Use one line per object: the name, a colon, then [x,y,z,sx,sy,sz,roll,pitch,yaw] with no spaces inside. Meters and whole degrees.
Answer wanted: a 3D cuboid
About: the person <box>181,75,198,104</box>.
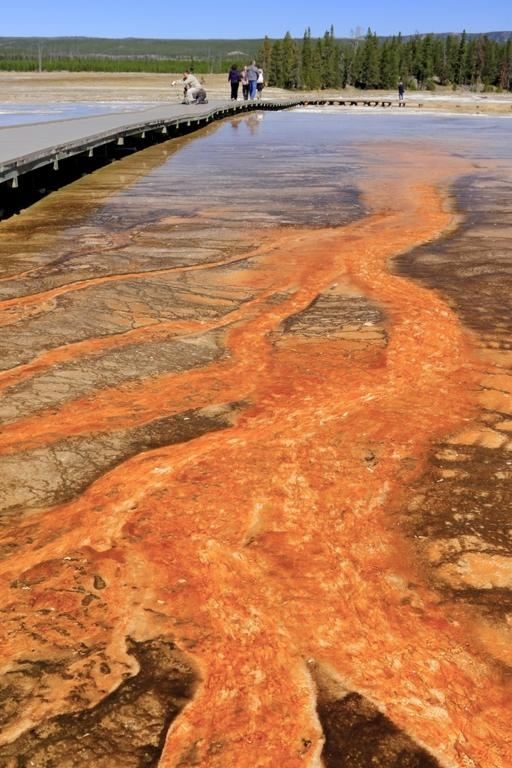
person: [-2.611,-11.943,24.520,0.657,1.097,1.319,-2,25,-6]
